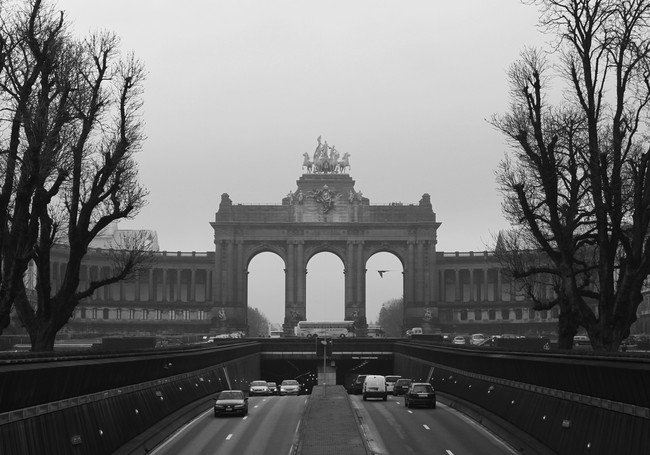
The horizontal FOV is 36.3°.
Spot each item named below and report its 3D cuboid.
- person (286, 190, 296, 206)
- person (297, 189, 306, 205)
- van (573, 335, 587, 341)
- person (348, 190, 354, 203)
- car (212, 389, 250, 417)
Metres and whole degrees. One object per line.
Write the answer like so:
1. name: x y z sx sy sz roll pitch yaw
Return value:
1. person: -5.242 -4.471 155.724 1.491 1.719 0.699 0 -7 -3
2. person: -3.755 -4.718 155.753 1.316 2.228 0.657 -1 -7 8
3. van: 28.100 12.192 108.892 1.221 0.745 9.903 -2 -8 16
4. person: 4.118 -4.723 155.744 0.900 1.982 0.479 0 -6 1
5. car: -5.423 10.165 57.176 1.572 1.395 2.380 -1 -8 10
